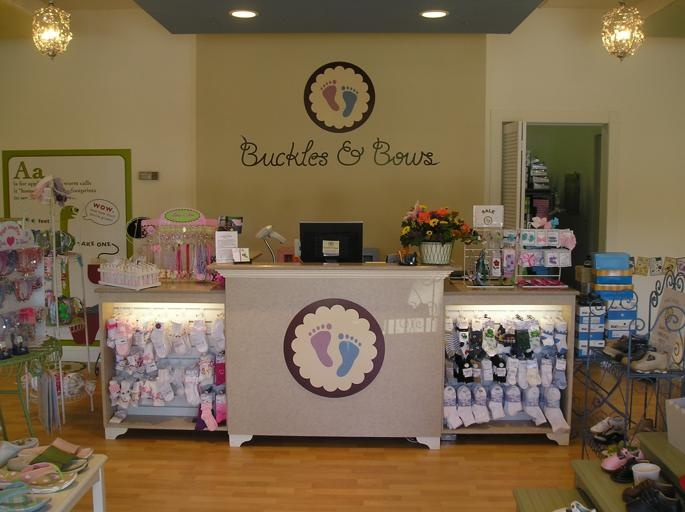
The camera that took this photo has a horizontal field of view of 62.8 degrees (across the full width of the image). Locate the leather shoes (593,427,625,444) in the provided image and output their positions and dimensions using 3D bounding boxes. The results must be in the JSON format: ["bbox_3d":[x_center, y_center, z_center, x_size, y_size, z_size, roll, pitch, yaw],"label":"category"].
[{"bbox_3d":[2.174,1.447,4.561,0.258,0.093,0.101,0,3,2],"label":"leather shoes"}]

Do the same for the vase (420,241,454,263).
[{"bbox_3d":[0.822,-0.051,4.915,0.197,0.128,0.198,2,3,12],"label":"vase"}]

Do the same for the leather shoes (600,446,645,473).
[{"bbox_3d":[1.890,1.377,3.826,0.291,0.141,0.127,-9,-3,-12],"label":"leather shoes"}]

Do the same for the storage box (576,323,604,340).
[{"bbox_3d":[2.245,0.676,5.080,0.217,0.156,0.138,0,-1,-2],"label":"storage box"}]

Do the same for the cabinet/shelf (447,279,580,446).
[{"bbox_3d":[1.485,0.941,4.954,1.279,1.368,0.516,0,5,2],"label":"cabinet/shelf"}]

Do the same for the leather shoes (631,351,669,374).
[{"bbox_3d":[2.295,0.793,4.198,0.235,0.128,0.133,-1,0,0],"label":"leather shoes"}]

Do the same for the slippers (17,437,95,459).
[{"bbox_3d":[-1.853,1.238,3.640,0.420,0.127,0.176,-3,-5,-6],"label":"slippers"}]

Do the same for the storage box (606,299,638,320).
[{"bbox_3d":[2.671,0.503,5.399,0.267,0.224,0.278,0,0,4],"label":"storage box"}]

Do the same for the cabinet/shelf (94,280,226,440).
[{"bbox_3d":[-1.597,0.902,4.998,1.256,1.297,0.424,0,6,0],"label":"cabinet/shelf"}]

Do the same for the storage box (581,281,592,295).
[{"bbox_3d":[2.239,0.294,5.142,0.087,0.108,0.091,3,2,38],"label":"storage box"}]

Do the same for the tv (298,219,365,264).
[{"bbox_3d":[-0.063,-0.138,5.006,0.477,0.352,0.115,0,9,2],"label":"tv"}]

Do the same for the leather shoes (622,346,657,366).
[{"bbox_3d":[2.203,0.750,4.213,0.284,0.122,0.099,-8,-1,-11],"label":"leather shoes"}]

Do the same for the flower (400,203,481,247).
[{"bbox_3d":[0.930,-0.290,5.231,0.474,0.240,0.495,1,2,-6],"label":"flower"}]

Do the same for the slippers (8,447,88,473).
[{"bbox_3d":[-1.841,1.264,3.517,0.250,0.075,0.201,1,-4,-9],"label":"slippers"}]

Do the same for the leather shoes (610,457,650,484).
[{"bbox_3d":[1.911,1.433,3.752,0.231,0.104,0.106,-3,0,-32],"label":"leather shoes"}]

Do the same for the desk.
[{"bbox_3d":[-0.057,0.820,4.831,1.398,1.194,0.533,0,7,1],"label":"desk"}]

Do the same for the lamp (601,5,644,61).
[{"bbox_3d":[2.670,-2.136,5.379,0.300,0.504,0.252,-5,14,-20],"label":"lamp"}]

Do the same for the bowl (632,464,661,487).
[{"bbox_3d":[1.950,1.379,3.603,0.128,0.114,0.147,1,12,10],"label":"bowl"}]

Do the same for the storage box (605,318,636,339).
[{"bbox_3d":[2.572,0.669,5.227,0.221,0.169,0.131,0,0,-2],"label":"storage box"}]

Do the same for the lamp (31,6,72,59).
[{"bbox_3d":[-2.801,-2.173,5.403,0.307,0.518,0.177,-5,14,-21],"label":"lamp"}]
